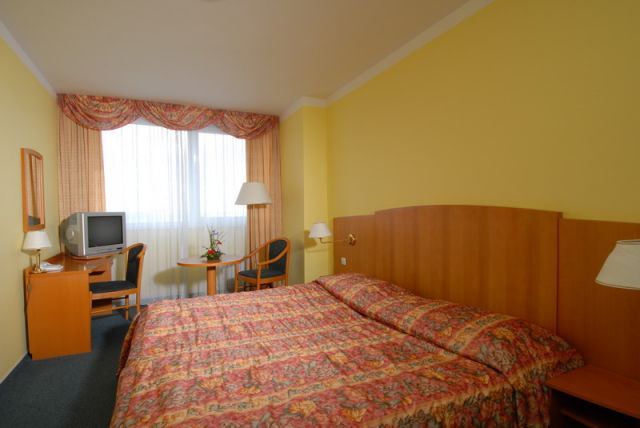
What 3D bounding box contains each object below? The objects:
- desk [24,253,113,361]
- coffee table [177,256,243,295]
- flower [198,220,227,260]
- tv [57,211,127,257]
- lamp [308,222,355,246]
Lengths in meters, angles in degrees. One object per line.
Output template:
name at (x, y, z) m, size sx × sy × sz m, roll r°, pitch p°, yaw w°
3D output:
desk at (-2.918, 0.735, 4.925) m, size 0.816 × 0.987 × 1.524 m, roll -2°, pitch 4°, yaw -29°
coffee table at (-1.461, 0.754, 5.626) m, size 0.655 × 0.484 × 0.658 m, roll -1°, pitch 4°, yaw -13°
flower at (-1.618, 0.389, 6.173) m, size 0.446 × 0.525 × 0.450 m, roll 4°, pitch 5°, yaw -9°
tv at (-3.043, 0.231, 5.553) m, size 0.649 × 0.573 × 0.653 m, roll 3°, pitch 2°, yaw 24°
lamp at (0.121, 0.280, 5.456) m, size 0.583 × 0.327 × 0.270 m, roll -3°, pitch -6°, yaw -36°
